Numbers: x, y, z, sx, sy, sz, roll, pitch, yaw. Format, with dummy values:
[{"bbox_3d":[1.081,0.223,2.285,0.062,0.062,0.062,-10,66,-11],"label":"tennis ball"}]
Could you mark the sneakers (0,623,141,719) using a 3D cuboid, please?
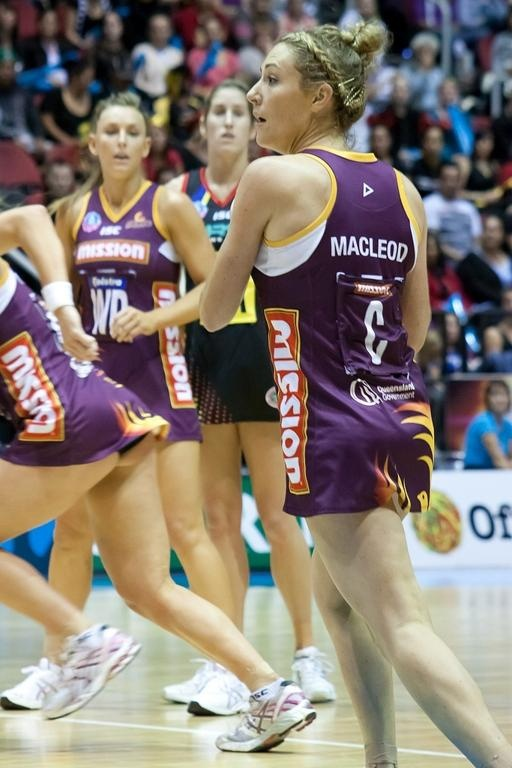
[{"bbox_3d":[-0.424,0.682,2.055,0.377,0.173,0.129,-35,25,20],"label":"sneakers"}]
